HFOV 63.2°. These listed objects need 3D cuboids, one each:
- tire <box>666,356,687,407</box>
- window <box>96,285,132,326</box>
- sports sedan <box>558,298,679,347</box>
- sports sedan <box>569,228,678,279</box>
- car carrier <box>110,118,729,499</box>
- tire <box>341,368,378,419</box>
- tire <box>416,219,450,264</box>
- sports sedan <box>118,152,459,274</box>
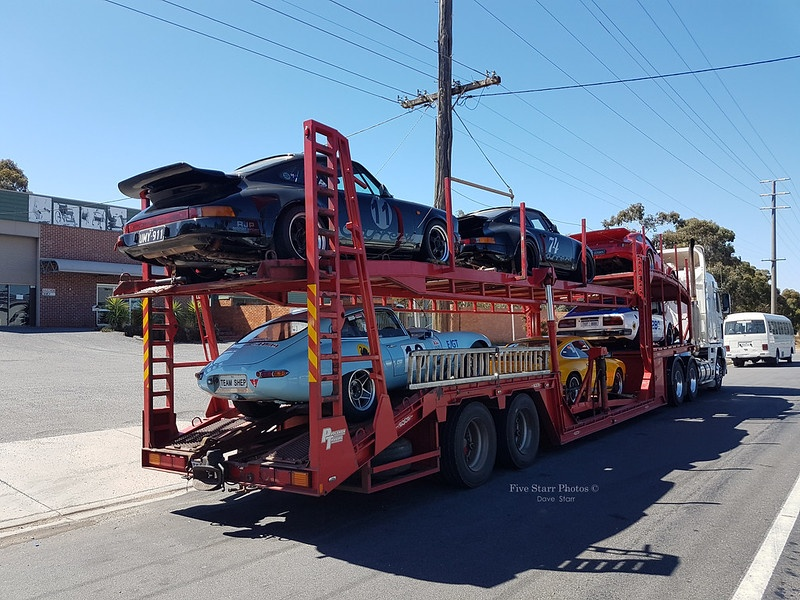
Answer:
[{"bbox_3d":[6.704,2.036,15.858,0.335,1.112,1.100,-6,-9,39],"label":"tire"},{"bbox_3d":[-11.873,0.365,26.739,1.934,2.205,0.414,0,0,34],"label":"window"},{"bbox_3d":[5.293,0.556,14.943,1.235,0.833,2.683,1,4,45],"label":"sports sedan"},{"bbox_3d":[4.835,-0.962,14.169,1.781,1.109,3.422,-4,-6,42],"label":"sports sedan"},{"bbox_3d":[2.333,0.516,12.801,12.463,4.259,4.030,1,-2,-42],"label":"car carrier"},{"bbox_3d":[-0.524,1.167,8.097,0.181,0.527,0.523,-8,-28,34],"label":"tire"},{"bbox_3d":[0.482,-0.892,9.808,0.219,0.698,0.687,3,5,36],"label":"tire"},{"bbox_3d":[-1.287,-1.116,9.019,4.024,1.222,2.055,-4,2,-41],"label":"sports sedan"}]
